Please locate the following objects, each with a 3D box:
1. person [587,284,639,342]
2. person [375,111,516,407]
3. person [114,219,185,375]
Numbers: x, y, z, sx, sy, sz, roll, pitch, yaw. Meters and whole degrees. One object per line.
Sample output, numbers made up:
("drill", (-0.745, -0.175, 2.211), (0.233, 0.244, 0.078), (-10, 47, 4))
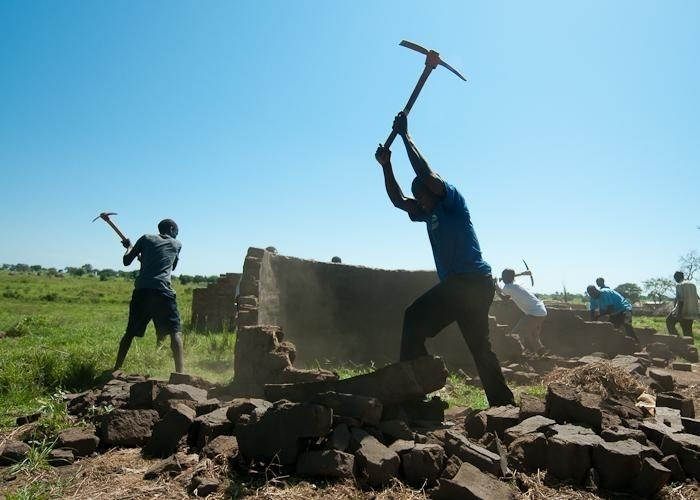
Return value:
("person", (6.282, 1.457, 11.937), (0.915, 1.121, 1.743), (1, -1, 23))
("person", (1.073, 0.047, 5.205), (1.136, 3.109, 0.598), (1, -1, -9))
("person", (-2.728, 0.599, 6.730), (0.821, 2.044, 1.053), (2, -1, -25))
